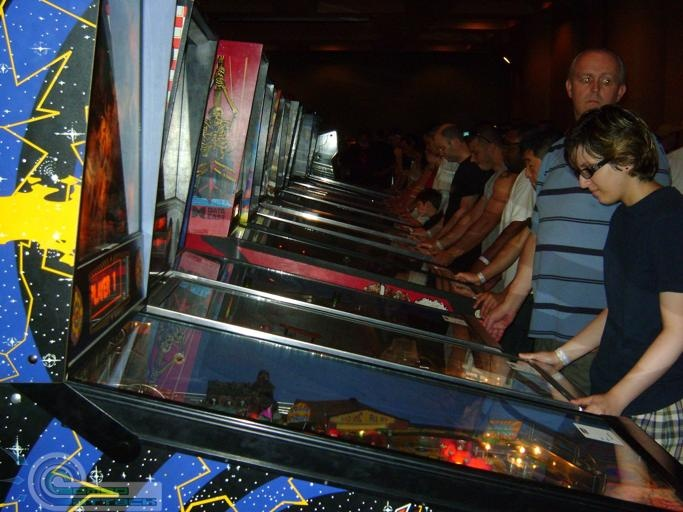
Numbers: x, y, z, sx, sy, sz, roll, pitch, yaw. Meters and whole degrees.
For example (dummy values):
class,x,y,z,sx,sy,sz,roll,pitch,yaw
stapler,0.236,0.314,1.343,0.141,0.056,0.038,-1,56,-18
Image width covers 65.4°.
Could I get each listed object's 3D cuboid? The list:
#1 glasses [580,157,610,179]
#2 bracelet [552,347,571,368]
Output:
class,x,y,z,sx,sy,sz,roll,pitch,yaw
glasses,0.685,-0.240,1.443,0.045,0.013,0.044,-27,-12,-5
bracelet,0.678,0.312,1.640,0.042,0.053,0.019,6,-13,-15
